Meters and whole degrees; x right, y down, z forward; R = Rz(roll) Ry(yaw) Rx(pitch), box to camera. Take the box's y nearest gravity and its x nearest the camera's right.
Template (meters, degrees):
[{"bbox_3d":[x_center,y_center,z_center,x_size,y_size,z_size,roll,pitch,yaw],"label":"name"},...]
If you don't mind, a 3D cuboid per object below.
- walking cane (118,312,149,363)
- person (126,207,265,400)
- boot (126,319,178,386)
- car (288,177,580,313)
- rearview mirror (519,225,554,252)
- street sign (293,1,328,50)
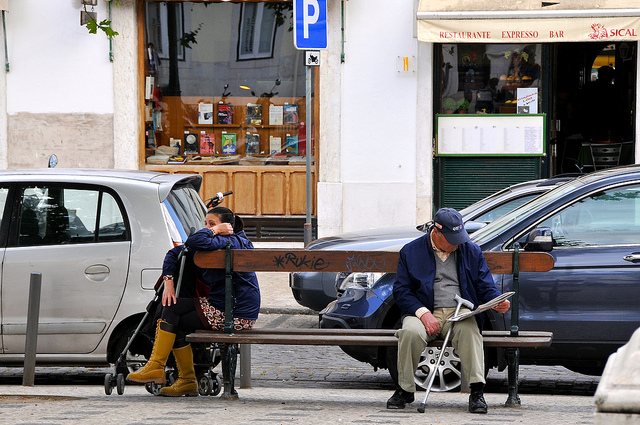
[{"bbox_3d":[-2.203,1.458,13.995,0.085,0.718,0.096,37,-5,46],"label":"walking cane"},{"bbox_3d":[-1.424,1.023,13.635,1.442,2.129,0.700,-2,9,-9],"label":"person"},{"bbox_3d":[-1.908,1.599,13.499,0.543,0.790,0.277,-8,12,-40],"label":"boot"},{"bbox_3d":[1.391,0.396,15.707,3.873,1.151,1.638,-3,2,2],"label":"car"},{"bbox_3d":[2.559,0.306,13.878,0.364,0.306,0.394,1,8,5],"label":"rearview mirror"},{"bbox_3d":[-0.157,-3.070,19.442,0.531,0.782,0.436,-1,9,-4],"label":"street sign"}]
